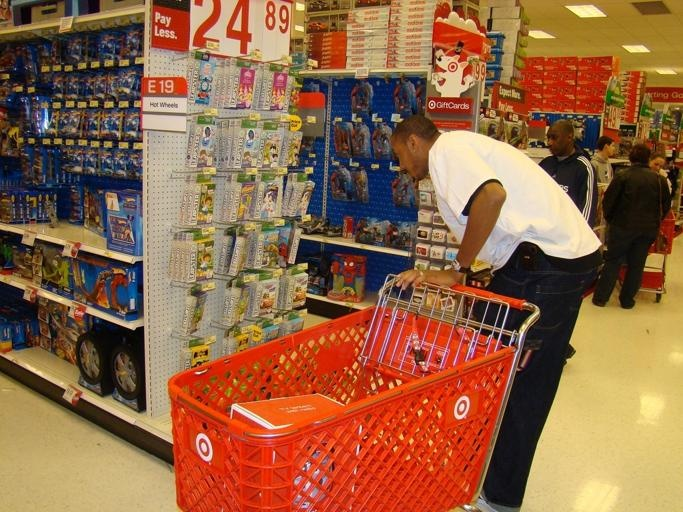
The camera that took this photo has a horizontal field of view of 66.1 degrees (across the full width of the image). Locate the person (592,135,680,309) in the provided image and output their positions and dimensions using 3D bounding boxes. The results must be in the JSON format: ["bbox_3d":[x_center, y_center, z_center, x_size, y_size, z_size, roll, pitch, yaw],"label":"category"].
[{"bbox_3d":[3.762,-0.364,6.826,0.829,2.100,0.618,-4,15,-29],"label":"person"}]

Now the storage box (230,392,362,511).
[{"bbox_3d":[-0.179,0.656,1.980,0.319,0.211,0.478,-2,12,-32],"label":"storage box"}]
